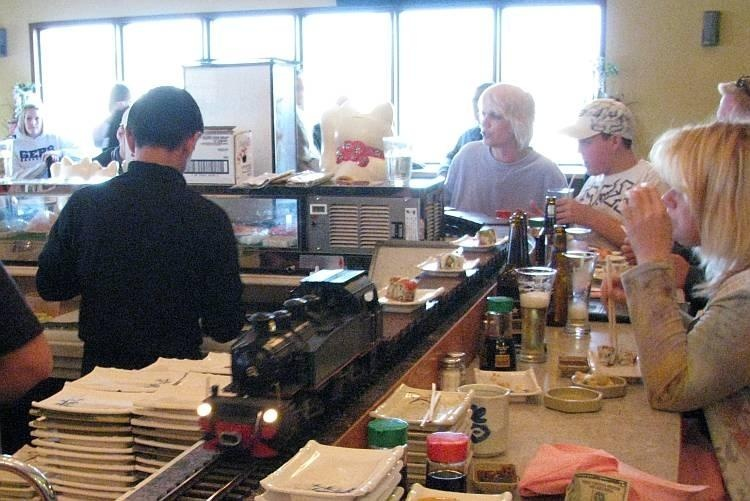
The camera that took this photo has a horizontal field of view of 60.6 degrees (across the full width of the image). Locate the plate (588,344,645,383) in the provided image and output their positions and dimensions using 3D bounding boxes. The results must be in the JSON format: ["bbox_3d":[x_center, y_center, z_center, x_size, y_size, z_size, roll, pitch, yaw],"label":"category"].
[{"bbox_3d":[0.869,0.411,2.306,0.147,0.032,0.142,0,12,2],"label":"plate"}]

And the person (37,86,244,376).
[{"bbox_3d":[-1.004,0.064,2.687,0.815,0.864,0.271,-1,9,8],"label":"person"}]

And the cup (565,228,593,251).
[{"bbox_3d":[1.125,-0.060,3.554,0.170,0.099,0.160,0,1,0],"label":"cup"}]

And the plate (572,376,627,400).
[{"bbox_3d":[0.773,0.464,2.183,0.132,0.037,0.087,0,3,-4],"label":"plate"}]

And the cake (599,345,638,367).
[{"bbox_3d":[0.890,0.391,2.348,0.097,0.029,0.089,0,5,6],"label":"cake"}]

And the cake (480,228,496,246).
[{"bbox_3d":[0.571,-0.063,3.258,0.052,0.087,0.113,5,11,41],"label":"cake"}]

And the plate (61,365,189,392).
[{"bbox_3d":[-0.764,0.401,2.001,0.208,0.029,0.219,1,5,9],"label":"plate"}]

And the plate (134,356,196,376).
[{"bbox_3d":[-0.706,0.389,2.151,0.131,0.018,0.135,2,9,2],"label":"plate"}]

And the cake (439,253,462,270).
[{"bbox_3d":[0.325,0.051,2.733,0.081,0.044,0.075,0,1,3],"label":"cake"}]

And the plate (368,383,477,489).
[{"bbox_3d":[0.138,0.488,1.721,0.199,0.112,0.274,1,8,13],"label":"plate"}]

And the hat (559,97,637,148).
[{"bbox_3d":[1.537,-0.907,4.447,0.451,0.198,0.293,4,11,8],"label":"hat"}]

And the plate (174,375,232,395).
[{"bbox_3d":[-0.494,0.383,1.857,0.119,0.012,0.124,2,11,12],"label":"plate"}]

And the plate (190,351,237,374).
[{"bbox_3d":[-0.516,0.351,1.999,0.122,0.030,0.247,-4,8,-17],"label":"plate"}]

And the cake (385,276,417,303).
[{"bbox_3d":[0.098,0.142,2.318,0.097,0.062,0.090,0,8,-3],"label":"cake"}]
